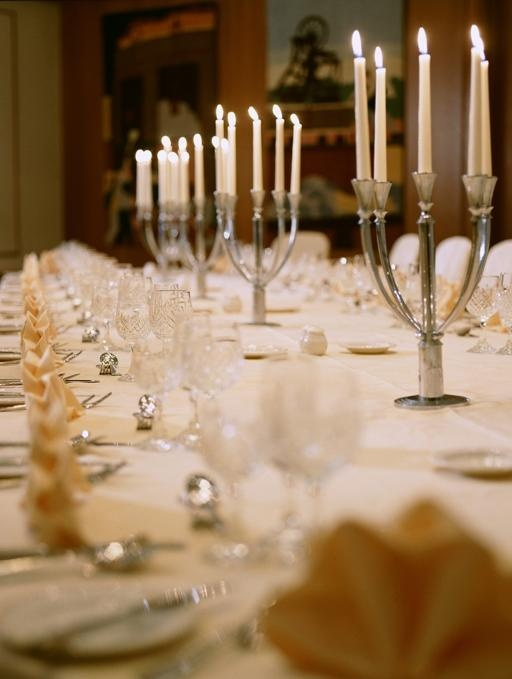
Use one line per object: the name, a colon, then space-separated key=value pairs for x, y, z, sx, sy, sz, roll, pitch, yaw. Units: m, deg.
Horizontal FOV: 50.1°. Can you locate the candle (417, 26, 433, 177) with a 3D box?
candle: x=0.297 y=-0.423 z=0.969 sx=0.024 sy=0.278 sz=0.182 roll=2 pitch=7 yaw=16
